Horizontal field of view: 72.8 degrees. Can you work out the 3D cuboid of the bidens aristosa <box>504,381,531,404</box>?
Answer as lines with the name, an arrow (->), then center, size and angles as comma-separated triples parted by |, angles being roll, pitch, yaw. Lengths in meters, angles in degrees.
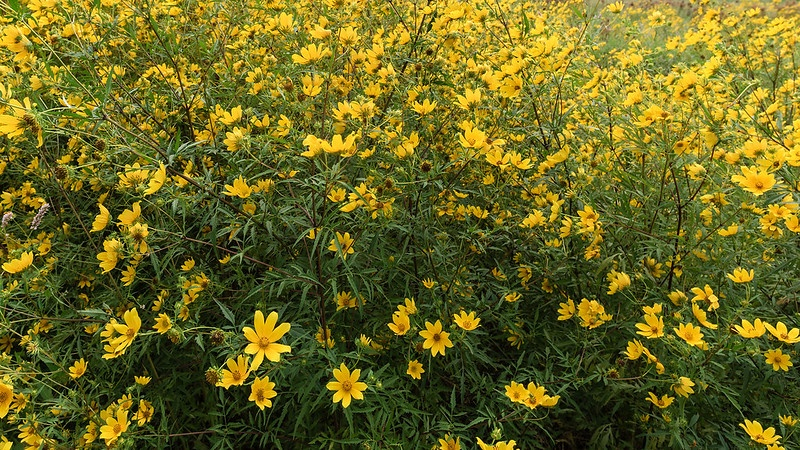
bidens aristosa -> 0.680, 0.985, 3.181 | 0.135, 0.052, 0.134 | 0, 75, 16

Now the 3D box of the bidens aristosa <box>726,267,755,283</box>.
bidens aristosa -> 2.031, 0.302, 3.252 | 0.131, 0.067, 0.128 | -12, 76, 30

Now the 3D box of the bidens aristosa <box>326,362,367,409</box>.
bidens aristosa -> -0.299, 0.922, 3.089 | 0.210, 0.365, 0.218 | -28, 74, -16
